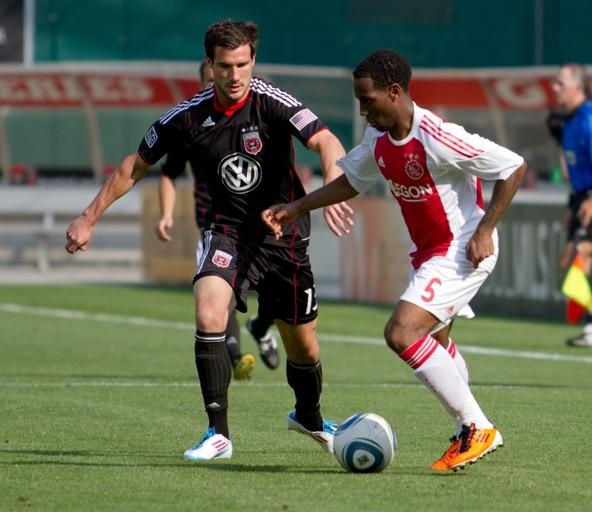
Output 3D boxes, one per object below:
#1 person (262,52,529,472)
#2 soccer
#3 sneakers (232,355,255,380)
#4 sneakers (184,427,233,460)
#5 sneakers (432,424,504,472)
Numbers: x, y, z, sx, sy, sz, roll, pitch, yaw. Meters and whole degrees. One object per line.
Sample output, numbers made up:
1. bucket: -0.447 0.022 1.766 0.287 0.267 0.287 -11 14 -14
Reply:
1. person: 0.604 0.002 6.145 1.097 2.093 0.613 4 11 10
2. soccer: 0.381 0.987 6.177 0.269 0.293 0.291 11 -8 19
3. sneakers: -0.380 0.811 8.497 0.096 0.263 0.114 11 36 -23
4. sneakers: -0.455 0.999 6.231 0.280 0.168 0.123 1 -4 -31
5. sneakers: 0.901 1.012 6.126 0.252 0.119 0.090 -33 27 5
